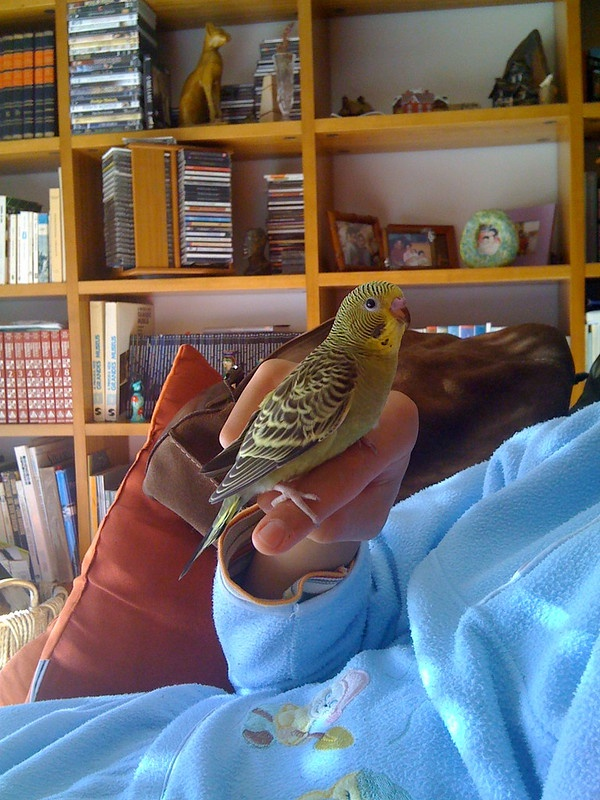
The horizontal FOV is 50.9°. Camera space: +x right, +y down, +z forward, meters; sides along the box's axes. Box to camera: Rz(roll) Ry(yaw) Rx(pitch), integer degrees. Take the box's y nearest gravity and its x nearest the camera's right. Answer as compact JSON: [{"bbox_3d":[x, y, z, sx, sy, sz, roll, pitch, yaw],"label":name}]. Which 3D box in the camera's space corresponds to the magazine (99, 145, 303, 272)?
[{"bbox_3d":[-0.283,-0.524,1.726,0.421,0.241,0.147,-1,2,-6],"label":"magazine"}]
